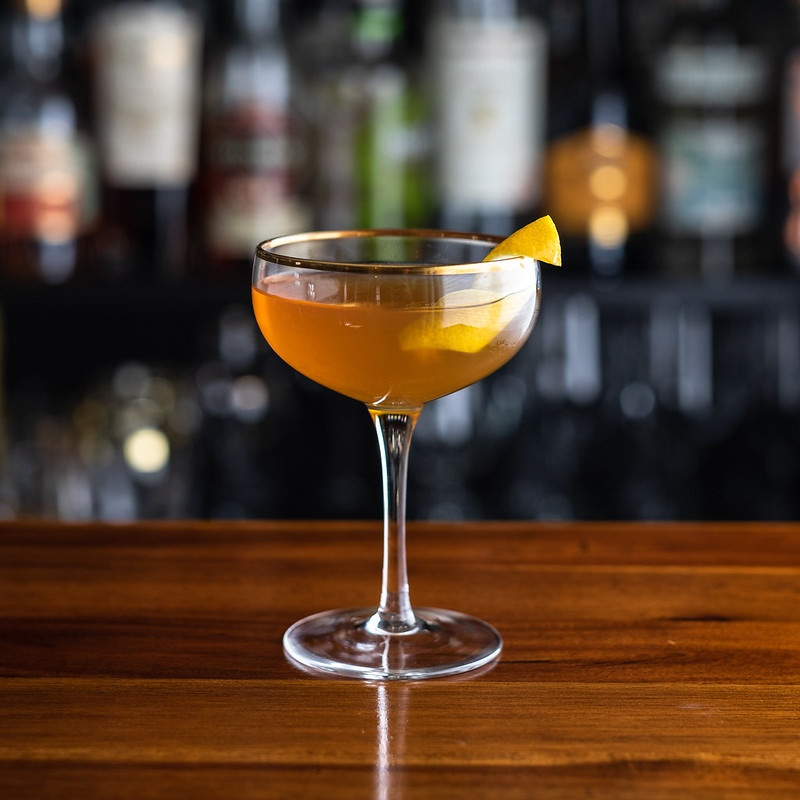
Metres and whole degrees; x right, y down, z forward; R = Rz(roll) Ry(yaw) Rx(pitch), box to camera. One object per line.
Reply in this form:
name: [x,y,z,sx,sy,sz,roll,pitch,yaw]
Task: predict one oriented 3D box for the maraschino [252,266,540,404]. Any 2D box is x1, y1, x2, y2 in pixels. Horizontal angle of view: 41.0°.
maraschino: [-0.007,-0.041,0.687,0.200,0.076,0.169,1,8,2]
